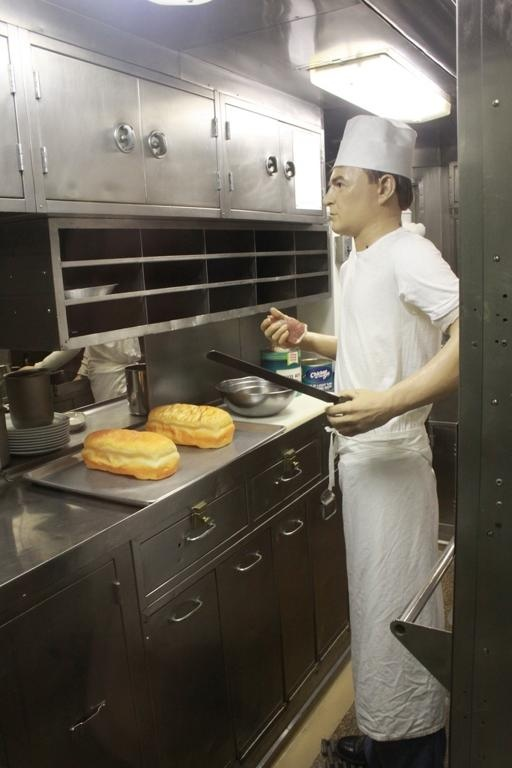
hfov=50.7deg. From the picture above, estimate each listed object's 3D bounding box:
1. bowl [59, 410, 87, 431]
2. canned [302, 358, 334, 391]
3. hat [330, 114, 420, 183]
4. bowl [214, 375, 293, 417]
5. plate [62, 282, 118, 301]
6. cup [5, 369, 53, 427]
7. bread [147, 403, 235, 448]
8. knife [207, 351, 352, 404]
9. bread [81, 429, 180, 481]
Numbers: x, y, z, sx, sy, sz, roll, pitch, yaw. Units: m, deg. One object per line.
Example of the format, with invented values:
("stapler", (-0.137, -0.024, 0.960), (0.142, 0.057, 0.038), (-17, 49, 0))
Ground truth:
("bowl", (-0.595, 0.111, 1.787), (0.059, 0.022, 0.061), (7, 13, -2))
("canned", (0.262, -0.044, 2.498), (0.151, 0.172, 0.149), (-9, 14, -36))
("hat", (0.273, -0.533, 1.268), (0.152, 0.099, 0.155), (9, 20, 6))
("bowl", (-0.019, 0.050, 2.000), (0.188, 0.079, 0.192), (-1, -2, 0))
("plate", (-0.418, -0.234, 1.379), (0.098, 0.031, 0.227), (-1, 13, -3))
("cup", (-0.642, 0.031, 1.556), (0.146, 0.189, 0.148), (-1, 3, 0))
("bread", (-0.195, 0.104, 1.713), (0.235, 0.115, 0.126), (9, 9, 36))
("knife", (0.066, -0.023, 1.929), (0.604, 0.082, 0.012), (20, 15, 5))
("bread", (-0.334, 0.166, 1.463), (0.222, 0.108, 0.119), (5, 8, 30))
